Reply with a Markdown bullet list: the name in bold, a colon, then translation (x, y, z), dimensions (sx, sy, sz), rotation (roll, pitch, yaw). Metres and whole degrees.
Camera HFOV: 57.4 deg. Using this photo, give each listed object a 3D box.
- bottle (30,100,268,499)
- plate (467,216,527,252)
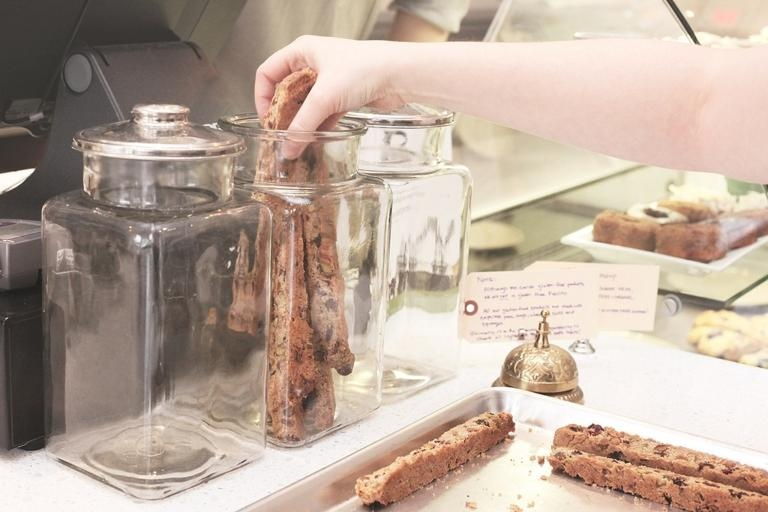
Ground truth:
- **bottle**: translation (-0.321, 0.090, 0.957), dimensions (0.301, 0.441, 0.155), rotation (3, 12, 5)
- **plate**: translation (0.251, -0.051, 1.532), dimensions (0.148, 0.080, 0.011), rotation (2, -2, 9)
